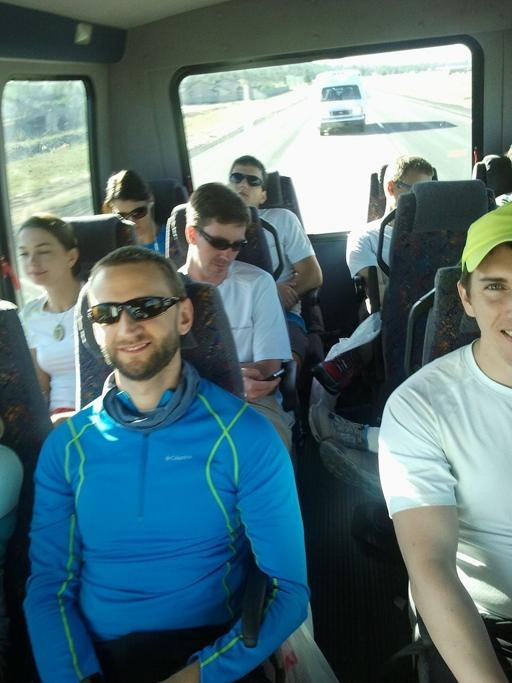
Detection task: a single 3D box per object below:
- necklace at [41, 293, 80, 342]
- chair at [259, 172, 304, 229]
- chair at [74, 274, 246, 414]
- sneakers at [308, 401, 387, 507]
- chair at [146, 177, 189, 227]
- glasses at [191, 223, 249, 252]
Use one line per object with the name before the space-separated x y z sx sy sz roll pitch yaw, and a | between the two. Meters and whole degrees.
necklace | -0.933 -0.107 2.718 0.164 0.205 0.053 -4 -7 30
chair | 0.208 -1.150 4.434 0.289 0.374 0.326 1 24 13
chair | -0.300 -0.040 1.969 0.451 0.544 0.479 -15 12 4
sneakers | 0.422 0.520 2.783 0.623 0.205 0.240 35 -9 12
chair | -0.712 -1.139 4.594 0.367 0.439 0.384 -1 14 1
glasses | -0.154 -0.517 2.700 0.157 0.044 0.149 3 29 -39
